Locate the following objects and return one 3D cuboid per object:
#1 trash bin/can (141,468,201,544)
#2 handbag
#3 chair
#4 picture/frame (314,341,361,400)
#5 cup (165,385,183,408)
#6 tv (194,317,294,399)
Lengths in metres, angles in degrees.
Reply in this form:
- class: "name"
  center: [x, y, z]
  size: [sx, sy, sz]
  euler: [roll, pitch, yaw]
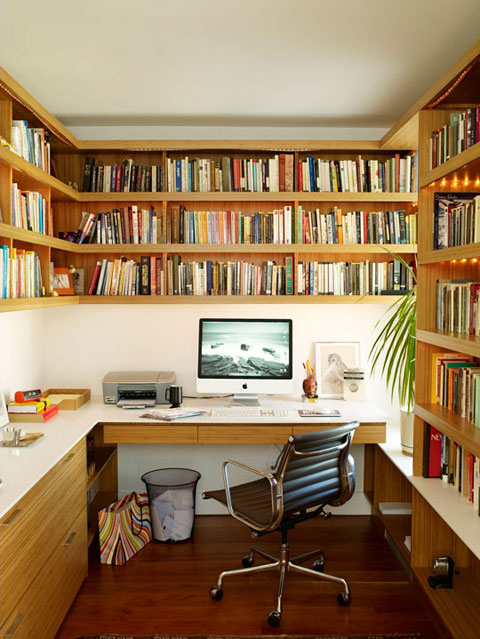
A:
- class: "trash bin/can"
  center: [-0.422, 1.104, 2.992]
  size: [0.361, 0.317, 0.360]
  euler: [0, 2, -14]
- class: "handbag"
  center: [-0.620, 1.167, 2.716]
  size: [0.105, 0.192, 0.274]
  euler: [-18, -11, 11]
- class: "chair"
  center: [0.228, 0.881, 2.362]
  size: [0.629, 0.851, 0.699]
  euler: [1, 1, 37]
- class: "picture/frame"
  center: [0.638, 0.358, 3.290]
  size: [0.362, 0.443, 0.020]
  euler: [0, -12, -3]
- class: "cup"
  center: [-0.395, 0.477, 3.007]
  size: [0.136, 0.149, 0.087]
  euler: [-2, -3, 13]
- class: "tv"
  center: [0.032, 0.238, 3.079]
  size: [0.510, 0.422, 0.054]
  euler: [1, -6, 0]
